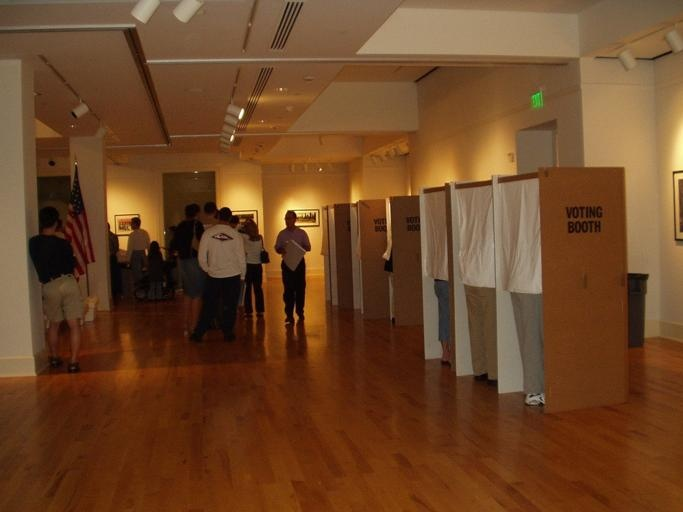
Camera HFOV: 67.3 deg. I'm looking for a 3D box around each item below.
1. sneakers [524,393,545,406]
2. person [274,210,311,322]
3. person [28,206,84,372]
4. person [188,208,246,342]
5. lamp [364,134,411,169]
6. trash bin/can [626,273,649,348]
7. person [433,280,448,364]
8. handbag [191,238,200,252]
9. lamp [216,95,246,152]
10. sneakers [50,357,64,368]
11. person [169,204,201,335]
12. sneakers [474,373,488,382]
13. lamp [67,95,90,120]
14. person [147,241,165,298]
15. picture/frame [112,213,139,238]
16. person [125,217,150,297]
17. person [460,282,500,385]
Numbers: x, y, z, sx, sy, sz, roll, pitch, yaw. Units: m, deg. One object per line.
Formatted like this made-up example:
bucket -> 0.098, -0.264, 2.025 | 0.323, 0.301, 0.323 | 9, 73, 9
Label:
sneakers -> 1.902, 1.411, 5.024 | 0.147, 0.123, 0.061 | -3, 6, 5
person -> -0.925, 0.189, 9.866 | 0.650, 2.125, 1.211 | -2, 3, -6
person -> -3.816, 0.441, 6.872 | 0.591, 2.214, 0.658 | -3, 3, -33
person -> -1.921, 0.431, 8.080 | 0.765, 1.864, 0.566 | -3, 3, -18
lamp -> 1.309, -3.096, 15.425 | 1.257, 0.382, 3.198 | -2, 4, 3
trash bin/can -> 4.140, 0.746, 7.183 | 0.191, 1.011, 0.385 | 1, 4, 43
person -> 1.255, 0.810, 6.361 | 0.156, 1.100, 0.370 | -1, 3, 11
handbag -> -2.491, -0.204, 8.737 | 0.052, 0.209, 0.205 | 2, -4, 34
lamp -> -2.196, -2.607, 10.218 | 0.335, 0.230, 2.066 | 35, -8, -4
sneakers -> -3.931, 1.477, 7.088 | 0.083, 0.100, 0.219 | 1, -14, -14
person -> -2.596, 0.197, 8.919 | 0.693, 2.231, 0.613 | -1, 2, 10
sneakers -> 1.576, 1.364, 5.809 | 0.180, 0.079, 0.059 | -4, 4, -35
lamp -> -4.407, -2.533, 8.604 | 0.219, 0.241, 0.253 | 37, 57, 15
person -> -4.722, 0.379, 13.036 | 0.380, 1.516, 0.736 | -3, 3, -21
picture/frame -> -6.208, -0.943, 14.744 | 0.674, 0.619, 0.068 | -3, 20, -8
person -> -5.263, 0.031, 13.373 | 0.514, 2.069, 0.790 | -4, 3, -34
person -> 1.552, 0.851, 5.638 | 0.349, 1.100, 0.354 | 0, 3, 27
